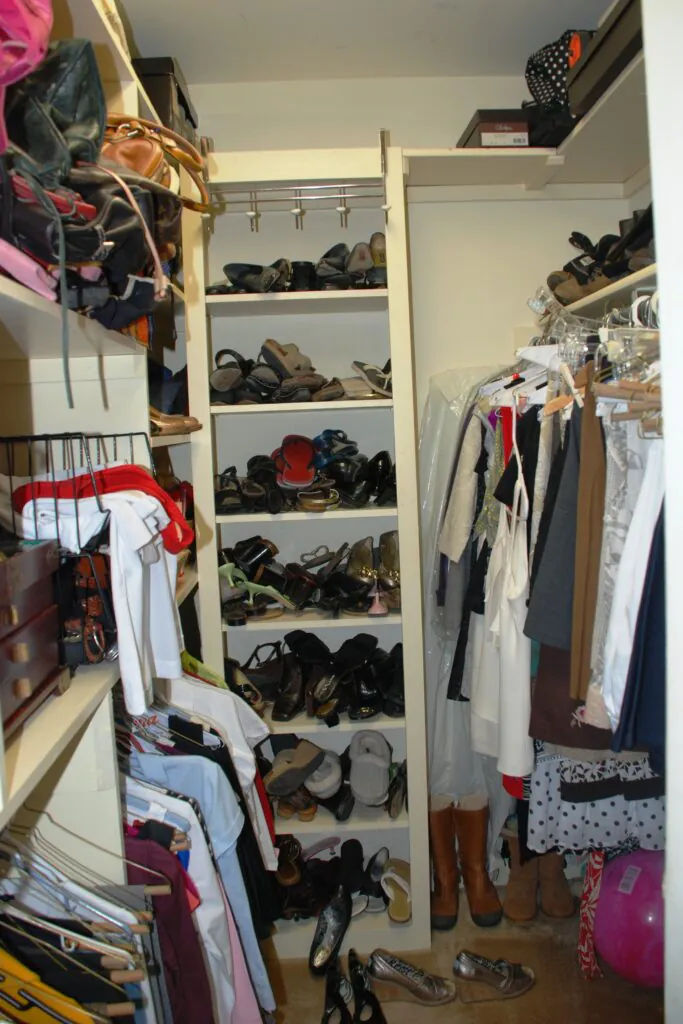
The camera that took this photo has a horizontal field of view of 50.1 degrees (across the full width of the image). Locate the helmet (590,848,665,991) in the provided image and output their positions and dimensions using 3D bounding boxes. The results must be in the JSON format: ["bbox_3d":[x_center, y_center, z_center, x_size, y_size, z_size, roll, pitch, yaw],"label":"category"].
[{"bbox_3d":[0.665,0.945,1.697,0.146,0.247,0.200,3,6,28],"label":"helmet"}]

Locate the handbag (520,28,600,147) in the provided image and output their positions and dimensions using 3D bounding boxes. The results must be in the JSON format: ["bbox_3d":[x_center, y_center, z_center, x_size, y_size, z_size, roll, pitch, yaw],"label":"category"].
[{"bbox_3d":[0.541,-1.093,1.877,0.083,0.251,0.197,5,41,7],"label":"handbag"}]

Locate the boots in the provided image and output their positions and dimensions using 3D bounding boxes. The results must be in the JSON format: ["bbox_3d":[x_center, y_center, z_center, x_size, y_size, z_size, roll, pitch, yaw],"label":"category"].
[{"bbox_3d":[0.422,0.856,1.994,0.432,0.357,0.271,-1,0,-7],"label":"boots"}]

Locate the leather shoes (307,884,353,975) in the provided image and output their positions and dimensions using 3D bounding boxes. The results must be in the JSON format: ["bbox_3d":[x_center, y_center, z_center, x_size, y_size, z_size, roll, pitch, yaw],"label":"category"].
[{"bbox_3d":[-0.027,1.070,1.851,0.065,0.206,0.069,0,-15,31],"label":"leather shoes"}]
